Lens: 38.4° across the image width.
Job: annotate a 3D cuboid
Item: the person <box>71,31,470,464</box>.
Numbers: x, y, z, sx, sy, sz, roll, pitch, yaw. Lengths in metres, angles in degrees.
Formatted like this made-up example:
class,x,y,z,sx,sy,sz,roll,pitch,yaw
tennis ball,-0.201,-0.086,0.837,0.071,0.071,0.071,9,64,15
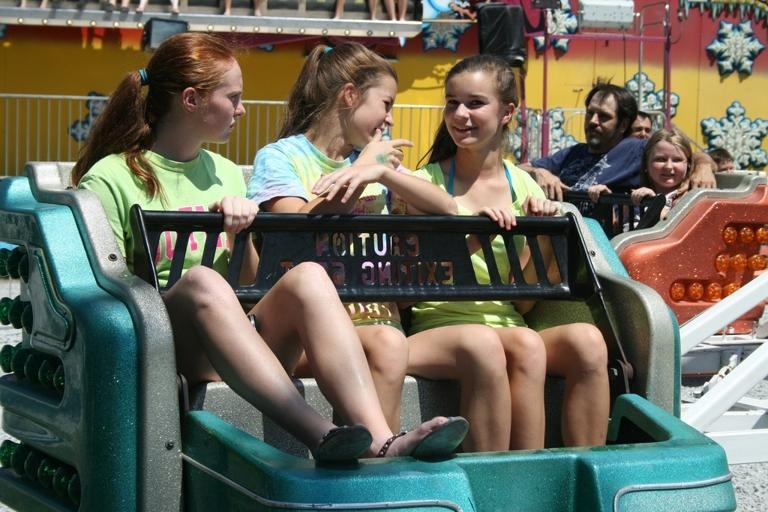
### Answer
class,x,y,z,sx,sy,sz,roll,pitch,yaw
person,-0.612,-0.100,4.406,1.835,1.483,0.719,14,14,40

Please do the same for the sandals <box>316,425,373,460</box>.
class,x,y,z,sx,sy,sz,roll,pitch,yaw
sandals,-0.144,0.689,3.967,0.187,0.118,0.076,-28,30,13
